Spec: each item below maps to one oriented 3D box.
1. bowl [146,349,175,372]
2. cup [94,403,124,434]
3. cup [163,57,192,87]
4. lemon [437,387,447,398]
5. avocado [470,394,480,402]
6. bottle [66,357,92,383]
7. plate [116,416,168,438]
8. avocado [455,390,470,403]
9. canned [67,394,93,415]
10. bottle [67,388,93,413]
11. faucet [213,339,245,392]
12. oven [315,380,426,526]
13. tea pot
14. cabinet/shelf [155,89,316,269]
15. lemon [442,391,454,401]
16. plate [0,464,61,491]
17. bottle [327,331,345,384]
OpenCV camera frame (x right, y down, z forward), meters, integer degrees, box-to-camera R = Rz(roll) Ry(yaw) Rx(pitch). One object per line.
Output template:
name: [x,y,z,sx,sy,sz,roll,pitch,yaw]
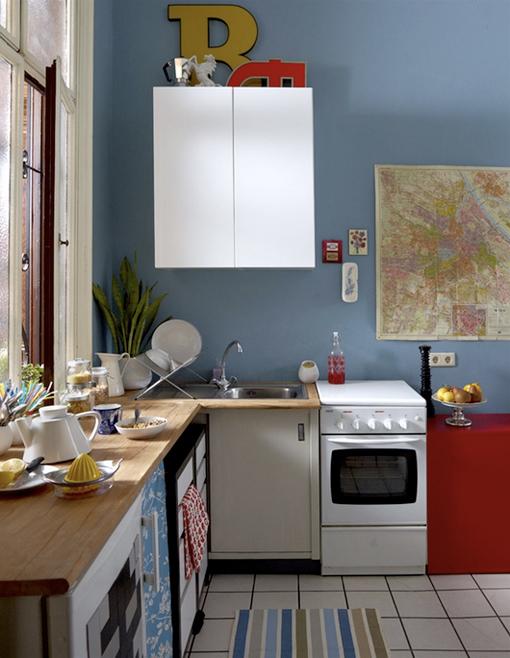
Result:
bowl: [-0.399,0.137,2.611,0.061,0.103,0.164,3,7,38]
cup: [-0.467,0.289,1.889,0.077,0.083,0.092,0,-5,6]
cup: [-0.386,-1.261,2.930,0.128,0.186,0.294,-2,6,-9]
lemon: [0.879,0.299,2.760,0.041,0.053,0.044,2,-22,12]
avocado: [1.017,0.313,2.702,0.035,0.029,0.036,-1,2,-34]
bottle: [-0.643,0.150,2.150,0.081,0.098,0.083,1,-5,-18]
plate: [-0.373,0.314,1.945,0.158,0.047,0.278,-3,6,-13]
avocado: [0.948,0.304,2.674,0.086,0.055,0.057,-7,8,-44]
canned: [-0.563,0.242,1.899,0.065,0.052,0.068,-1,-3,5]
bottle: [-0.570,0.234,1.929,0.066,0.062,0.069,-1,-1,16]
faucet: [-0.134,0.171,2.967,0.156,0.240,0.313,-1,6,-1]
oven: [0.500,0.564,2.726,0.486,0.739,0.522,-1,-2,1]
tea pot: [-0.524,0.276,1.606,0.130,0.114,0.201,-3,-4,27]
cabinet/shelf: [-0.108,-0.727,2.722,0.755,0.891,0.280,0,-1,-2]
lemon: [0.887,0.309,2.691,0.037,0.047,0.039,4,-17,21]
plate: [-0.540,0.362,1.435,0.114,0.037,0.155,-1,6,-3]
bottle: [0.415,0.142,2.994,0.086,0.244,0.216,0,6,8]
